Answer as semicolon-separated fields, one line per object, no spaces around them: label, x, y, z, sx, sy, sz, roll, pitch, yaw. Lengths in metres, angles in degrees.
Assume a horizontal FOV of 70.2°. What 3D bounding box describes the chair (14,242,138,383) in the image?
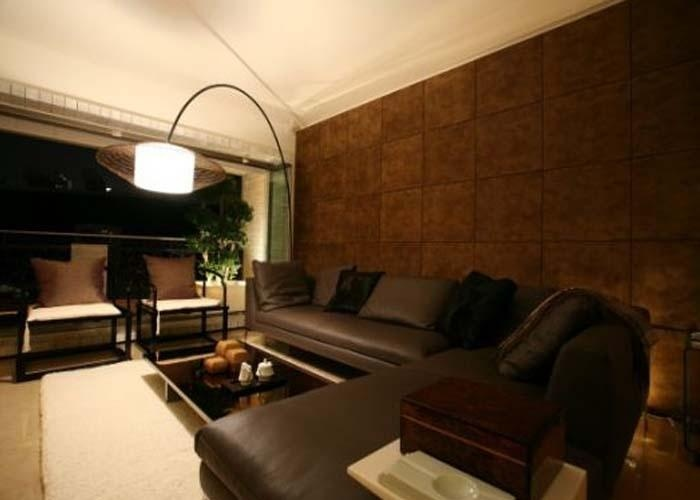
chair;-3.010;0.703;5.397;1.236;1.710;0.915;2;-5;-43

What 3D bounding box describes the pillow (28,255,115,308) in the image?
pillow;-3.088;0.363;5.527;0.925;0.811;0.458;0;-3;-35

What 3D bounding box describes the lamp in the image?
lamp;-1.632;-0.940;5.773;1.705;2.140;3.051;1;1;-1

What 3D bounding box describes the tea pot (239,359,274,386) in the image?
tea pot;-0.747;0.987;4.002;0.238;0.143;0.159;7;-9;-43

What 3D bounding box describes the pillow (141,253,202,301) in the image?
pillow;-2.220;0.344;6.145;0.514;0.520;0.182;-2;-16;-43
